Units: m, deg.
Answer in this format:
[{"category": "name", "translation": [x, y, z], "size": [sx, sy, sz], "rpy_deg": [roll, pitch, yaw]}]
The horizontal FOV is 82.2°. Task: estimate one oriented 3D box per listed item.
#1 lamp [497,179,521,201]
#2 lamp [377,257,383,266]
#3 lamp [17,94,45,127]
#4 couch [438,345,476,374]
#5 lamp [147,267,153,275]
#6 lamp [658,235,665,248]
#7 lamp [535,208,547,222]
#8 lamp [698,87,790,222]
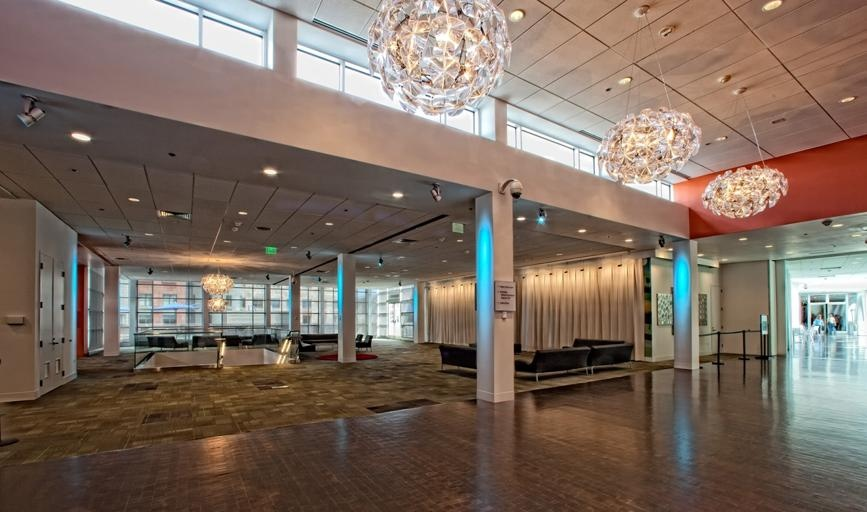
[{"category": "lamp", "translation": [2.066, -1.758, 13.108], "size": [0.368, 0.504, 0.741], "rpy_deg": [2, -2, -28]}, {"category": "lamp", "translation": [-2.314, 0.258, 22.090], "size": [0.306, 0.448, 0.256], "rpy_deg": [-1, -20, -1]}, {"category": "lamp", "translation": [-7.957, -2.891, 9.934], "size": [0.426, 0.556, 0.477], "rpy_deg": [-7, 10, -39]}, {"category": "couch", "translation": [0.964, 3.596, 17.794], "size": [0.277, 0.881, 1.724], "rpy_deg": [-8, 10, -39]}, {"category": "lamp", "translation": [-14.337, 0.777, 25.364], "size": [0.227, 0.327, 0.614], "rpy_deg": [6, -7, -13]}, {"category": "lamp", "translation": [8.165, -0.485, 17.703], "size": [0.189, 0.229, 0.612], "rpy_deg": [-5, -22, 18]}, {"category": "lamp", "translation": [3.281, -1.192, 14.904], "size": [0.306, 0.471, 1.132], "rpy_deg": [1, 7, 12]}, {"category": "lamp", "translation": [9.030, -3.027, 14.323], "size": [2.119, 3.821, 1.794], "rpy_deg": [9, -22, 14]}]
